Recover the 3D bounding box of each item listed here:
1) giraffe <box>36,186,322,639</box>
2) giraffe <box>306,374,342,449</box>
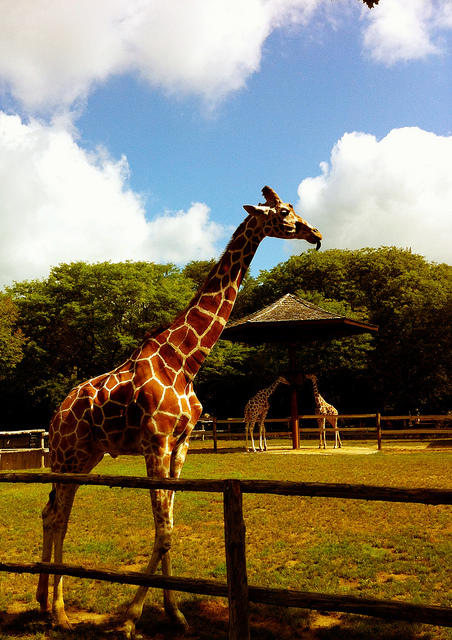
[{"bbox_3d":[-0.565,0.630,6.316,2.260,4.265,1.242,3,-6,-17],"label":"giraffe"},{"bbox_3d":[3.506,3.114,22.128,1.604,2.709,1.051,8,-12,-39],"label":"giraffe"}]
